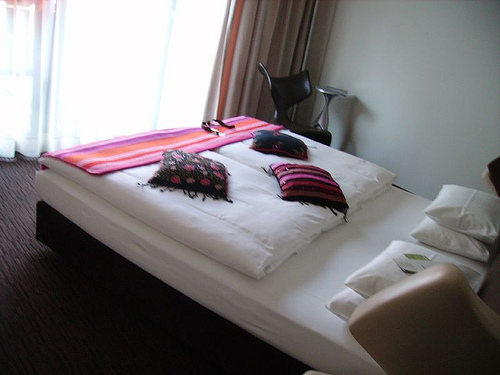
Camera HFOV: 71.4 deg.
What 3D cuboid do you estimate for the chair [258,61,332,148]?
[{"bbox_3d":[0.535,-0.863,4.170,0.711,1.109,0.670,-9,19,-33],"label":"chair"}]

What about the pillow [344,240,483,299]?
[{"bbox_3d":[0.670,0.391,1.639,0.372,0.111,0.357,-18,21,-35],"label":"pillow"}]

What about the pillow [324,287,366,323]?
[{"bbox_3d":[0.436,0.545,1.620,0.126,0.117,0.130,-8,27,-33],"label":"pillow"}]

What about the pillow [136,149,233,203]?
[{"bbox_3d":[-0.348,-0.072,2.127,0.342,0.098,0.392,17,33,-9],"label":"pillow"}]
